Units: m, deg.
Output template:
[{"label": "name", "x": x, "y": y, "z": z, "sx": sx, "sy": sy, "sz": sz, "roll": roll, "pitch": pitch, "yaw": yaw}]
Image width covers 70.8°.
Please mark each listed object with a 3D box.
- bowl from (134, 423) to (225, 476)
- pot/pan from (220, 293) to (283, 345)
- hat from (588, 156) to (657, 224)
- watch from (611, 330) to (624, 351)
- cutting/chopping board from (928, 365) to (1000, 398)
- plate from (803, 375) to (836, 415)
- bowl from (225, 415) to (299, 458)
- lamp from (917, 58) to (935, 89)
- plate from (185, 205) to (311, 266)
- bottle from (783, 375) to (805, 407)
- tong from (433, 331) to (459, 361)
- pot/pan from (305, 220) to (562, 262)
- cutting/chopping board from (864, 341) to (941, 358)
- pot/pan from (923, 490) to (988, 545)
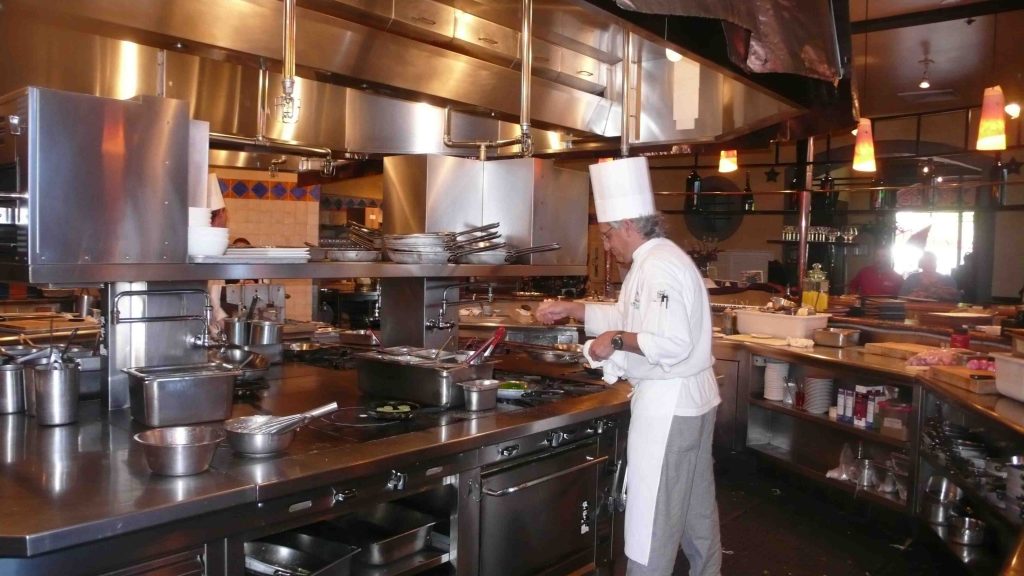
[{"label": "bowl", "x": -1.610, "y": 0.789, "z": 3.533, "sx": 0.387, "sy": 0.165, "sz": 0.320, "roll": -2, "pitch": 14, "yaw": -21}, {"label": "pot/pan", "x": -1.809, "y": 0.244, "z": 5.033, "sx": 0.427, "sy": 0.324, "sz": 0.229, "roll": 3, "pitch": 15, "yaw": -9}, {"label": "hat", "x": 0.728, "y": -0.590, "z": 4.564, "sx": 0.476, "sy": 0.347, "sz": 0.438, "roll": -12, "pitch": 2, "yaw": -31}, {"label": "watch", "x": 0.610, "y": 0.309, "z": 4.144, "sx": 0.075, "sy": 0.096, "sz": 0.106, "roll": 4, "pitch": 0, "yaw": 40}, {"label": "cutting/chopping board", "x": 3.158, "y": 0.651, "z": 5.022, "sx": 0.209, "sy": 0.057, "sz": 0.338, "roll": -2, "pitch": 4, "yaw": -10}, {"label": "plate", "x": 2.659, "y": 0.940, "z": 6.365, "sx": 0.333, "sy": 0.315, "sz": 0.328, "roll": 3, "pitch": 1, "yaw": 30}, {"label": "bowl", "x": -1.270, "y": 0.730, "z": 3.631, "sx": 0.303, "sy": 0.104, "sz": 0.230, "roll": 0, "pitch": -2, "yaw": 32}, {"label": "lamp", "x": 4.801, "y": -2.482, "z": 8.405, "sx": 0.231, "sy": 0.284, "sz": 0.213, "roll": 0, "pitch": 5, "yaw": 24}, {"label": "plate", "x": -1.464, "y": -0.235, "z": 4.020, "sx": 0.625, "sy": 0.203, "sz": 0.129, "roll": -1, "pitch": 15, "yaw": -16}, {"label": "bottle", "x": 2.558, "y": 0.949, "z": 6.554, "sx": 0.154, "sy": 0.203, "sz": 0.302, "roll": 7, "pitch": 14, "yaw": 15}, {"label": "tong", "x": -0.437, "y": 0.385, "z": 4.745, "sx": 0.134, "sy": 0.125, "sz": 0.387, "roll": 3, "pitch": 8, "yaw": -6}, {"label": "pot/pan", "x": -0.563, "y": -0.310, "z": 4.858, "sx": 1.528, "sy": 0.315, "sz": 0.652, "roll": -1, "pitch": 13, "yaw": -14}, {"label": "cutting/chopping board", "x": 3.189, "y": 0.522, "z": 5.952, "sx": 0.337, "sy": 0.123, "sz": 0.435, "roll": -7, "pitch": 16, "yaw": -37}, {"label": "pot/pan", "x": 3.254, "y": 1.703, "z": 5.285, "sx": 0.261, "sy": 0.209, "sz": 0.375, "roll": 1, "pitch": 13, "yaw": -6}]
